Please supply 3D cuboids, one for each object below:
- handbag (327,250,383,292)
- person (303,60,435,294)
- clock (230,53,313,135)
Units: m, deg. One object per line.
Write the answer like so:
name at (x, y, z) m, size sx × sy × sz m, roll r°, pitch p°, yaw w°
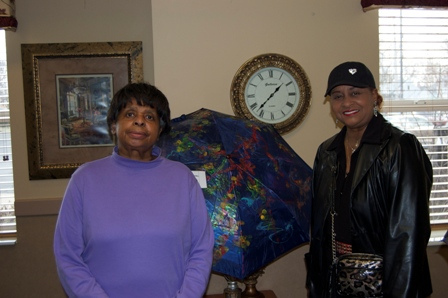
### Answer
handbag at (0.869, 0.794, 2.917) m, size 0.308 × 0.257 × 0.220 m, roll 2°, pitch 2°, yaw -2°
person at (0.940, 0.229, 2.961) m, size 0.845 × 1.651 × 0.461 m, roll 0°, pitch 3°, yaw 27°
clock at (0.473, -0.532, 4.328) m, size 0.782 × 0.860 × 0.044 m, roll -1°, pitch 28°, yaw 8°
